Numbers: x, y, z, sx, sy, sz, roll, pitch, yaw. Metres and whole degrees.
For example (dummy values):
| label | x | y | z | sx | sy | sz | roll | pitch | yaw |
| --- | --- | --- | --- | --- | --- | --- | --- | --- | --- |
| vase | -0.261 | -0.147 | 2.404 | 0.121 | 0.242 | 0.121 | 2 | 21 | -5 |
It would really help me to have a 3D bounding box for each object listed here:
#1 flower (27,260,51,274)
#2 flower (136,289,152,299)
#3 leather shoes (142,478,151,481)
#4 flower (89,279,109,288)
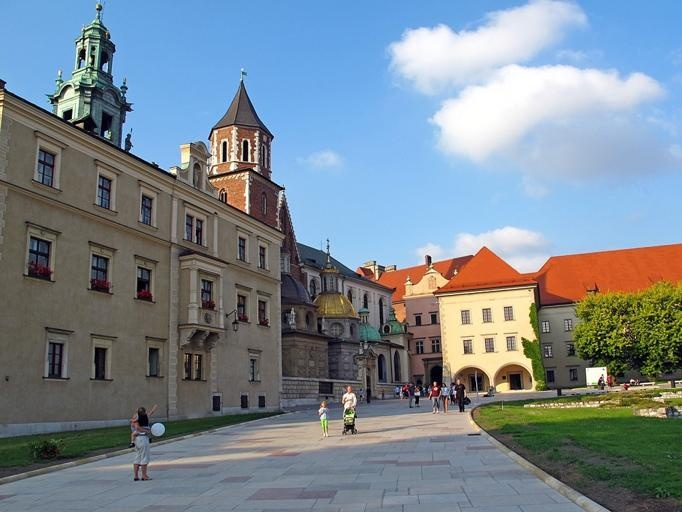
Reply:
| label | x | y | z | sx | sy | sz | roll | pitch | yaw |
| --- | --- | --- | --- | --- | --- | --- | --- | --- | --- |
| flower | -15.151 | 0.602 | 31.053 | 0.335 | 0.703 | 1.348 | -11 | -18 | 19 |
| flower | -11.734 | 2.286 | 36.951 | 0.498 | 0.399 | 0.514 | -2 | -8 | 26 |
| leather shoes | -5.740 | 6.625 | 18.304 | 0.191 | 0.079 | 0.079 | -4 | -11 | 7 |
| flower | -13.289 | 1.572 | 34.177 | 0.242 | 0.615 | 1.214 | -12 | -18 | 22 |
